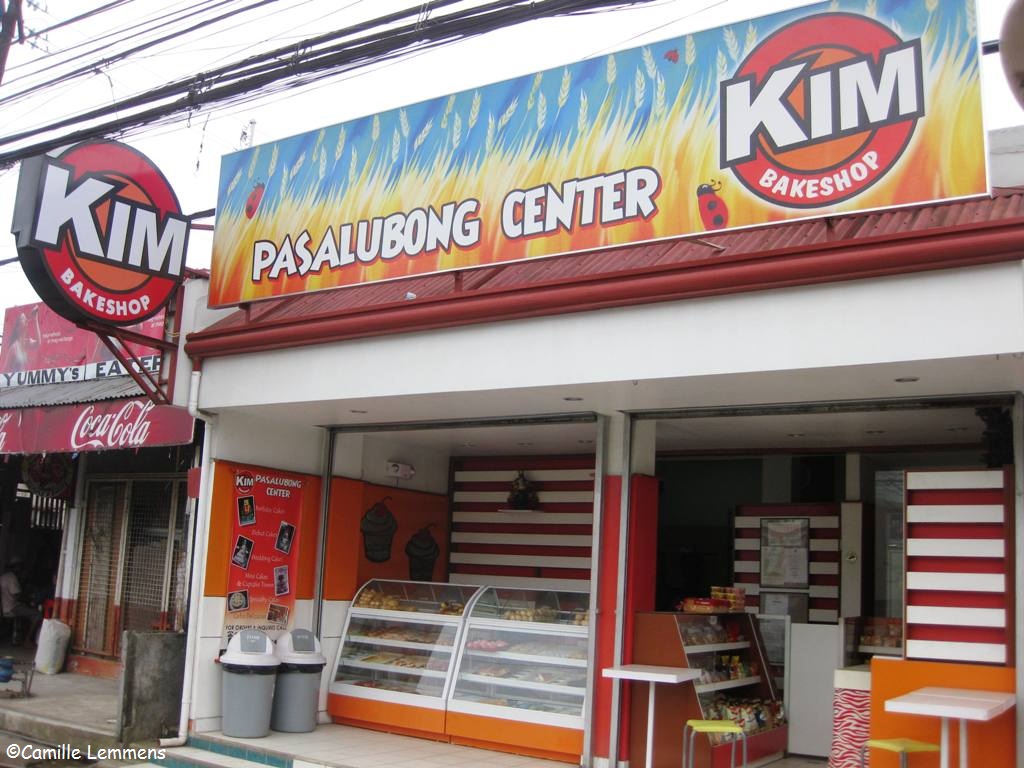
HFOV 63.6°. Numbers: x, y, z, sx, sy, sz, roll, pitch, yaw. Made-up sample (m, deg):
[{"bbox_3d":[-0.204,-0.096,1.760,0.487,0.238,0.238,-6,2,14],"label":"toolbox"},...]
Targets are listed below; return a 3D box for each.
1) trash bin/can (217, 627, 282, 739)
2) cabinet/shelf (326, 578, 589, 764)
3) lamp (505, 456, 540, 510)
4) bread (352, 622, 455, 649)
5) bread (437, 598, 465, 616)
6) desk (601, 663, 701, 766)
[{"bbox_3d":[-2.698,3.007,8.356,0.535,1.021,0.355,5,-13,-12],"label":"trash bin/can"},{"bbox_3d":[-0.602,2.913,8.678,2.980,1.606,0.448,-6,-15,33],"label":"cabinet/shelf"},{"bbox_3d":[0.131,1.377,11.182,0.435,0.596,0.269,0,-13,11],"label":"lamp"},{"bbox_3d":[-1.191,2.717,9.146,1.448,0.219,0.309,-2,1,29],"label":"bread"},{"bbox_3d":[-0.669,2.412,9.005,0.189,0.173,0.046,-3,-52,18],"label":"bread"},{"bbox_3d":[1.217,2.973,7.293,0.853,0.935,0.890,1,-13,7],"label":"desk"}]
